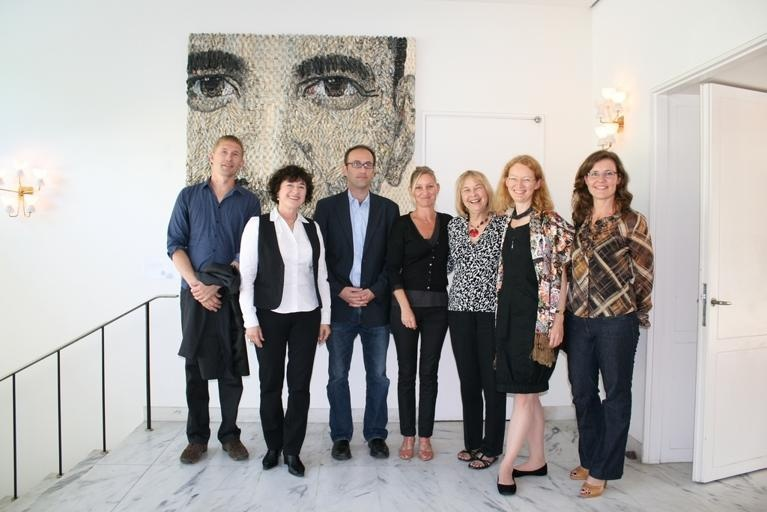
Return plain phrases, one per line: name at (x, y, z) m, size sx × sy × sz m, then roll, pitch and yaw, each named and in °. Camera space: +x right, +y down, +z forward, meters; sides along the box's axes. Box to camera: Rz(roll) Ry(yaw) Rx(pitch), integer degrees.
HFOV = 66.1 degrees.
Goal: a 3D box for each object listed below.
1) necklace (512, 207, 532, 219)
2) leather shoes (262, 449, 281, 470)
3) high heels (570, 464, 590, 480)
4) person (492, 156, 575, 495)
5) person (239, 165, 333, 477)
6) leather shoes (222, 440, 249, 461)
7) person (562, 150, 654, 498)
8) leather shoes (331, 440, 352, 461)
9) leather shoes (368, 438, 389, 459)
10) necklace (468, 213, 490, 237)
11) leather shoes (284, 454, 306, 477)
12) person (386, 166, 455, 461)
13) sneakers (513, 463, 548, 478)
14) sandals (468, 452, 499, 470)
necklace at (1.064, -0.318, 4.520) m, size 0.110 × 0.029 × 0.084 m, roll -36°, pitch 21°, yaw -32°
leather shoes at (-0.898, 1.627, 4.695) m, size 0.082 × 0.152 × 0.213 m, roll 0°, pitch -12°, yaw 14°
high heels at (1.551, 1.726, 4.650) m, size 0.152 × 0.067 × 0.070 m, roll 3°, pitch 2°, yaw -11°
person at (1.142, 0.524, 4.505) m, size 0.560 × 2.569 × 0.383 m, roll 2°, pitch 5°, yaw 11°
person at (-0.780, 0.510, 4.662) m, size 0.694 × 2.431 × 0.333 m, roll 0°, pitch 5°, yaw -10°
leather shoes at (-1.213, 1.599, 4.841) m, size 0.112 × 0.095 × 0.241 m, roll 0°, pitch 0°, yaw -32°
person at (1.702, 0.509, 4.494) m, size 0.604 × 2.609 × 0.400 m, roll 3°, pitch 5°, yaw 20°
leather shoes at (-0.343, 1.600, 4.881) m, size 0.177 × 0.142 × 0.145 m, roll 0°, pitch 4°, yaw -17°
leather shoes at (-0.035, 1.595, 4.890) m, size 0.171 × 0.142 × 0.112 m, roll 1°, pitch 4°, yaw 0°
necklace at (0.739, -0.237, 4.651) m, size 0.177 × 0.181 × 0.043 m, roll 9°, pitch -5°, yaw 20°
leather shoes at (-0.711, 1.653, 4.660) m, size 0.094 × 0.094 × 0.222 m, roll 1°, pitch 5°, yaw -36°
person at (0.286, 0.477, 4.830) m, size 0.485 × 2.399 × 0.276 m, roll 2°, pitch 4°, yaw 6°
sneakers at (1.159, 1.719, 4.701) m, size 0.292 × 0.088 × 0.100 m, roll 2°, pitch -2°, yaw -8°
sandals at (0.813, 1.652, 4.776) m, size 0.243 × 0.097 × 0.121 m, roll 3°, pitch -2°, yaw -30°
